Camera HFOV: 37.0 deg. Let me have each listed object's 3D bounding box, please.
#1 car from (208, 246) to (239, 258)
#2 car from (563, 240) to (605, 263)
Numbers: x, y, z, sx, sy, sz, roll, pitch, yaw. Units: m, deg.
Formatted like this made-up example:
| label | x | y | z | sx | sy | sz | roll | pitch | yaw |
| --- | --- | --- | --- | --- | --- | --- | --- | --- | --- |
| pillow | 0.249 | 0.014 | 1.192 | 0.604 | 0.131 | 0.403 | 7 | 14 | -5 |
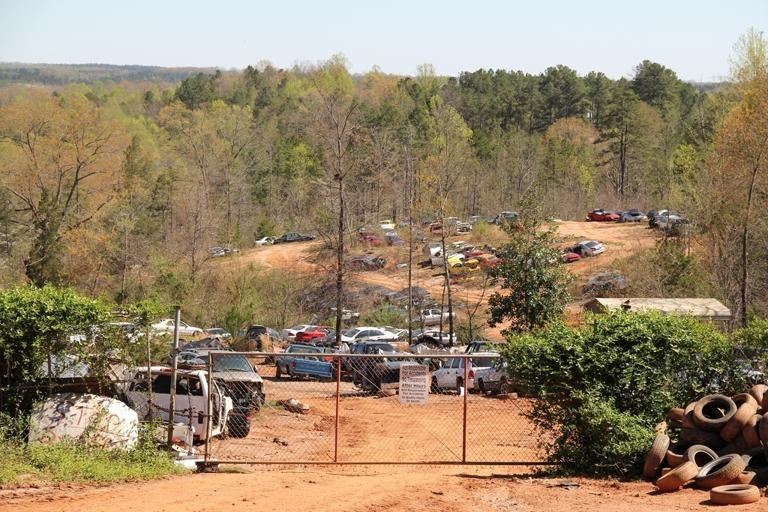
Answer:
| label | x | y | z | sx | sy | sz | roll | pitch | yaw |
| --- | --- | --- | --- | --- | --- | --- | --- | --- | --- |
| car | -15.999 | -0.087 | 114.720 | 3.147 | 1.166 | 1.514 | -8 | 15 | -6 |
| car | 18.359 | -0.555 | 105.834 | 5.142 | 2.071 | 2.357 | 2 | -3 | -39 |
